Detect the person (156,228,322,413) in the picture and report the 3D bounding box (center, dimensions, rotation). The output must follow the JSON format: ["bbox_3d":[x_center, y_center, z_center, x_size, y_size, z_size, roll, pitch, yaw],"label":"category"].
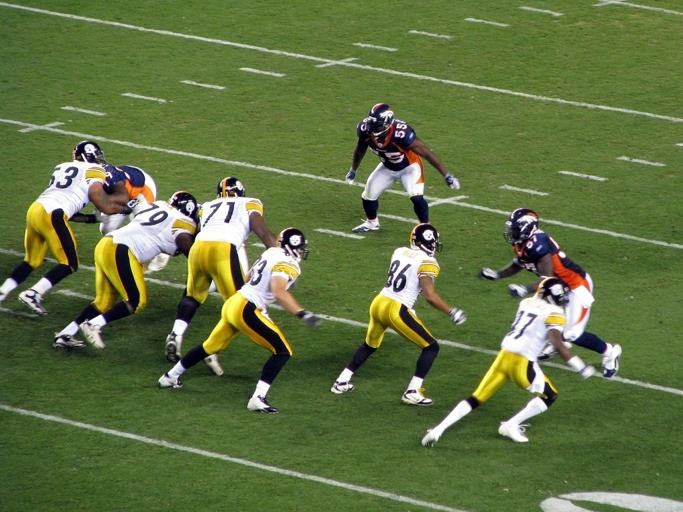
[{"bbox_3d":[-0.766,0.533,9.764,1.149,1.616,0.551,18,17,5],"label":"person"}]

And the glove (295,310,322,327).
[{"bbox_3d":[-0.280,0.526,9.514,0.232,0.098,0.095,27,-23,-13],"label":"glove"}]

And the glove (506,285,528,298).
[{"bbox_3d":[1.682,0.334,10.532,0.128,0.060,0.192,21,7,34],"label":"glove"}]

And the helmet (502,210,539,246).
[{"bbox_3d":[1.709,-0.274,10.486,0.393,0.271,0.268,-8,-2,10],"label":"helmet"}]

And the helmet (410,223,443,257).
[{"bbox_3d":[0.737,-0.146,10.168,0.279,0.248,0.326,8,4,33],"label":"helmet"}]

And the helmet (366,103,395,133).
[{"bbox_3d":[0.424,-1.528,12.600,0.299,0.343,0.228,15,17,-2],"label":"helmet"}]

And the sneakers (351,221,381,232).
[{"bbox_3d":[0.270,-0.342,13.022,0.371,0.119,0.102,-3,28,-9],"label":"sneakers"}]

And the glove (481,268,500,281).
[{"bbox_3d":[1.431,0.183,10.875,0.115,0.047,0.147,19,4,36],"label":"glove"}]

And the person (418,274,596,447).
[{"bbox_3d":[1.468,0.922,9.522,1.187,1.504,0.611,9,19,-23],"label":"person"}]
